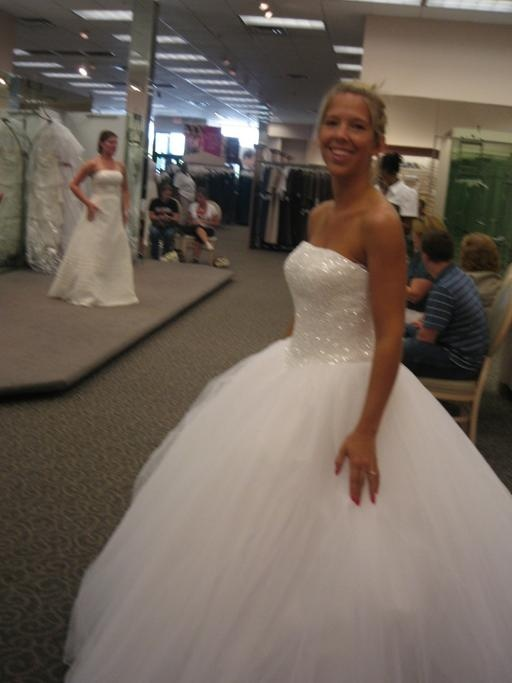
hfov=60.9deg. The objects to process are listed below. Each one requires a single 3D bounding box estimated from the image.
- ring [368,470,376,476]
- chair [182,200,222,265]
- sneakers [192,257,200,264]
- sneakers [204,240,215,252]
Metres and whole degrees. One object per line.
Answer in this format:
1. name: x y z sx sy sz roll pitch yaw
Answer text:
1. ring: 0.195 0.218 0.727 0.017 0.008 0.006 -5 16 -24
2. chair: -1.014 -2.125 8.036 0.580 1.327 1.118 1 10 -2
3. sneakers: -1.110 -1.493 7.977 0.129 0.084 0.203 -2 16 -16
4. sneakers: -0.856 -1.730 7.935 0.074 0.094 0.245 4 31 -25
